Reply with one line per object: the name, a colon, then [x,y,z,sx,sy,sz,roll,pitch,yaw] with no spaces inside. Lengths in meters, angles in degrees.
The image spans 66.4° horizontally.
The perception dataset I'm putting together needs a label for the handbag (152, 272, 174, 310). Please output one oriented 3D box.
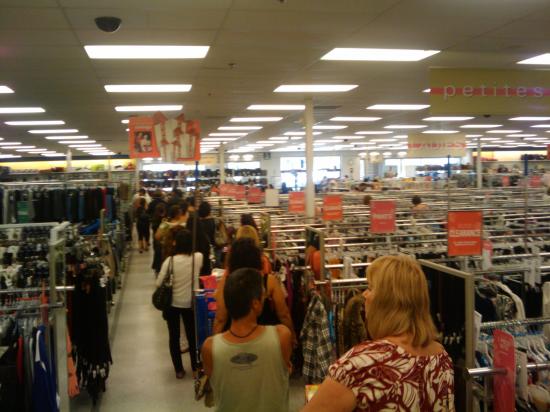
handbag: [-1.212,0.926,4.495,0.268,0.444,0.161,3,10,41]
